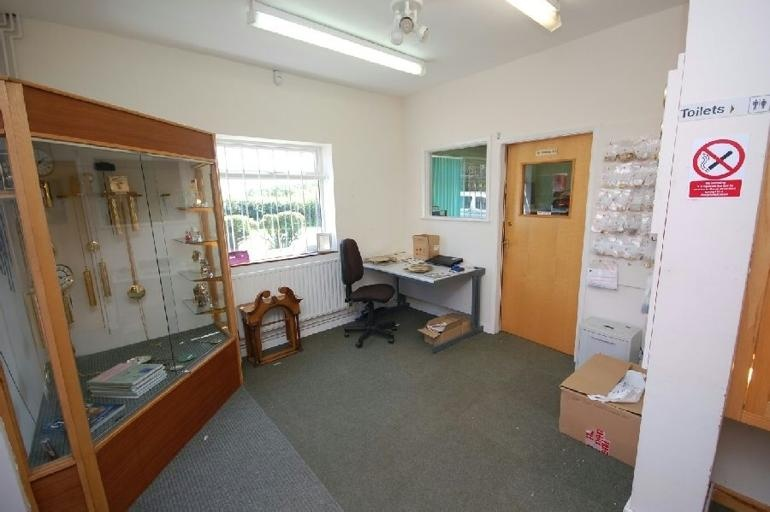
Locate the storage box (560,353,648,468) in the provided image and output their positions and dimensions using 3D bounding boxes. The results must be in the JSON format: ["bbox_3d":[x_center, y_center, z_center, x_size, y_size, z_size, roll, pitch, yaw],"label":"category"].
[{"bbox_3d":[1.864,1.249,3.988,0.493,0.723,0.721,18,-11,-20],"label":"storage box"}]

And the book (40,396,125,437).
[{"bbox_3d":[-2.154,1.134,3.428,0.321,0.081,0.351,2,4,15],"label":"book"}]

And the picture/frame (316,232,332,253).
[{"bbox_3d":[-0.751,-0.178,5.906,0.237,0.294,0.029,-5,8,-40],"label":"picture/frame"}]

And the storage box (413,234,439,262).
[{"bbox_3d":[0.519,-0.119,6.083,0.387,0.391,0.289,1,3,37],"label":"storage box"}]

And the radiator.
[{"bbox_3d":[-1.003,0.474,5.615,1.417,0.940,0.110,-9,11,-36],"label":"radiator"}]

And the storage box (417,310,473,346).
[{"bbox_3d":[0.677,0.818,5.499,0.503,0.175,0.301,-25,20,-39],"label":"storage box"}]

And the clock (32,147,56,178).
[{"bbox_3d":[-2.363,-0.659,3.387,0.053,0.194,0.183,-6,9,-16],"label":"clock"}]

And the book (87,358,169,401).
[{"bbox_3d":[-2.021,0.984,3.821,0.325,0.225,0.603,0,8,17],"label":"book"}]

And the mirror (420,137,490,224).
[{"bbox_3d":[0.867,-0.955,5.846,0.101,0.875,1.007,-12,16,-42],"label":"mirror"}]

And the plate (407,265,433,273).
[{"bbox_3d":[0.395,0.125,5.581,0.277,0.051,0.410,-1,8,12],"label":"plate"}]
